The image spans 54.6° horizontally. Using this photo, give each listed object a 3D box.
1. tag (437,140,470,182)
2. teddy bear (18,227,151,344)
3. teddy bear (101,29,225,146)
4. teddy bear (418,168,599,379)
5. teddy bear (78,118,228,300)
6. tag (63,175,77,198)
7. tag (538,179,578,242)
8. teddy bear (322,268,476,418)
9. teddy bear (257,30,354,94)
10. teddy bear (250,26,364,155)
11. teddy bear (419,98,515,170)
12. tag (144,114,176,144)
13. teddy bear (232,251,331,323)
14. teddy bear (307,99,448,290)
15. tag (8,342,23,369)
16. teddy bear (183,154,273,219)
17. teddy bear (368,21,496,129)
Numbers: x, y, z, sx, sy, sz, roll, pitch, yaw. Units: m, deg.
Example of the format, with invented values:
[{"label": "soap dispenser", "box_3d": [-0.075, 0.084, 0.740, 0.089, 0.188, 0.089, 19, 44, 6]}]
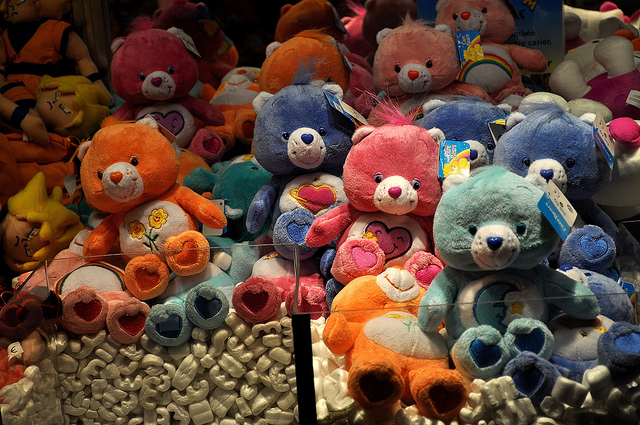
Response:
[{"label": "tag", "box_3d": [0.491, -0.201, 2.307, 0.111, 0.146, 0.035, 0, -21, 12]}, {"label": "teddy bear", "box_3d": [-0.767, 0.292, 2.093, 0.427, 0.265, 0.203, 1, 8, 23]}, {"label": "teddy bear", "box_3d": [-0.793, -0.603, 3.130, 0.593, 0.596, 0.428, -6, 22, -4]}, {"label": "teddy bear", "box_3d": [0.609, 0.178, 2.021, 0.573, 0.637, 0.420, -1, 4, -6]}, {"label": "teddy bear", "box_3d": [-0.673, -0.049, 2.346, 0.576, 0.626, 0.565, -2, 7, 1]}, {"label": "tag", "box_3d": [-1.128, -0.127, 2.824, 0.056, 0.083, 0.023, 1, -8, 30]}, {"label": "tag", "box_3d": [0.747, -0.001, 1.967, 0.046, 0.177, 0.177, -22, 24, 41]}, {"label": "teddy bear", "box_3d": [0.226, 0.395, 1.998, 0.449, 0.376, 0.418, -2, 7, -4]}, {"label": "teddy bear", "box_3d": [-0.028, -0.682, 2.797, 0.367, 0.302, 0.313, -18, 16, -41]}, {"label": "teddy bear", "box_3d": [-0.059, -0.563, 2.962, 0.626, 0.655, 0.458, -9, 9, -18]}, {"label": "teddy bear", "box_3d": [0.628, -0.327, 2.643, 0.322, 0.272, 0.374, 1, -12, 1]}, {"label": "tag", "box_3d": [-0.658, -0.350, 2.597, 0.030, 0.121, 0.113, -48, 34, -5]}, {"label": "teddy bear", "box_3d": [-0.125, 0.260, 2.216, 0.323, 0.180, 0.420, 4, 21, -1]}, {"label": "teddy bear", "box_3d": [0.236, -0.054, 2.503, 0.758, 0.836, 0.538, 3, 3, 6]}, {"label": "tag", "box_3d": [-0.987, 0.461, 2.018, 0.044, 0.073, 0.024, -6, 9, -28]}, {"label": "teddy bear", "box_3d": [-0.421, -0.106, 2.948, 0.376, 0.355, 0.274, 0, -24, -4]}, {"label": "teddy bear", "box_3d": [0.504, -0.598, 2.736, 0.502, 0.475, 0.338, -12, 0, 12]}]
